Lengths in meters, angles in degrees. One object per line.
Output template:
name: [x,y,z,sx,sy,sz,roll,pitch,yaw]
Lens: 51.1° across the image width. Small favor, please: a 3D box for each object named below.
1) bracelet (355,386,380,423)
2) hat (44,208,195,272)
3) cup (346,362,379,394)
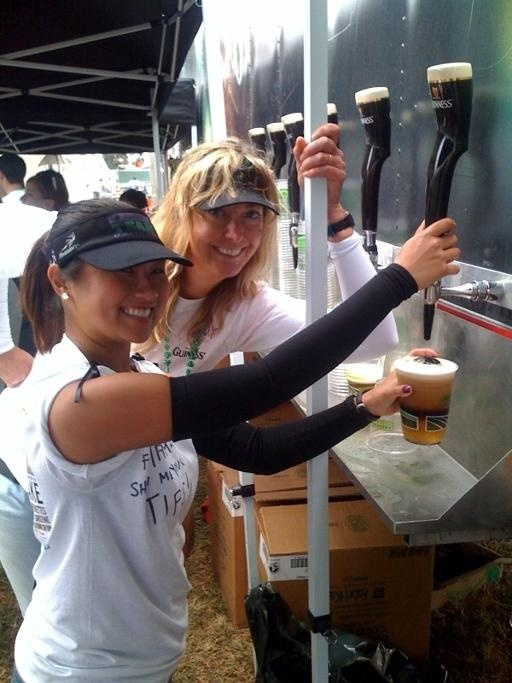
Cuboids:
bracelet: [0.237,0.135,1.078,0.032,0.083,0.070,-11,59,22]
hat: [-0.261,-0.192,0.910,0.192,0.073,0.125,13,18,34]
cup: [0.304,0.098,1.500,0.088,0.107,0.093,1,-19,0]
